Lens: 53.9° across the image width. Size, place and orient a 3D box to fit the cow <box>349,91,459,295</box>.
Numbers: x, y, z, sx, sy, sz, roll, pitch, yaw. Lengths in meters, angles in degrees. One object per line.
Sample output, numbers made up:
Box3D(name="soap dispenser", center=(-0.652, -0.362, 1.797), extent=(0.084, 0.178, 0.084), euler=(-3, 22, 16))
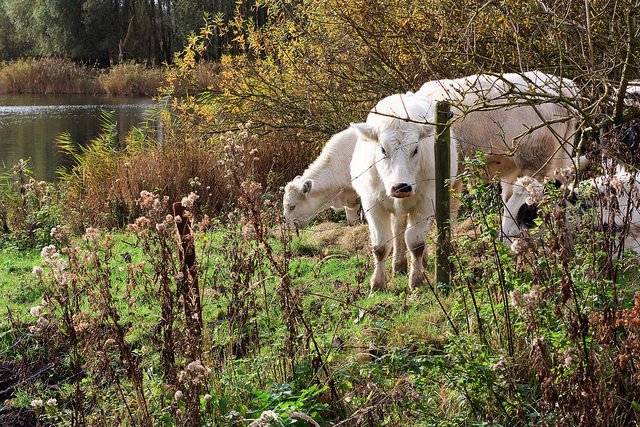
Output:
Box3D(name="cow", center=(1.009, -0.121, 8.013), extent=(1.061, 2.296, 2.855), euler=(-1, 1, 9))

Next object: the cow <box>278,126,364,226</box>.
Box3D(name="cow", center=(0.047, -0.519, 9.341), extent=(1.084, 1.389, 3.201), euler=(-5, 2, 4))
